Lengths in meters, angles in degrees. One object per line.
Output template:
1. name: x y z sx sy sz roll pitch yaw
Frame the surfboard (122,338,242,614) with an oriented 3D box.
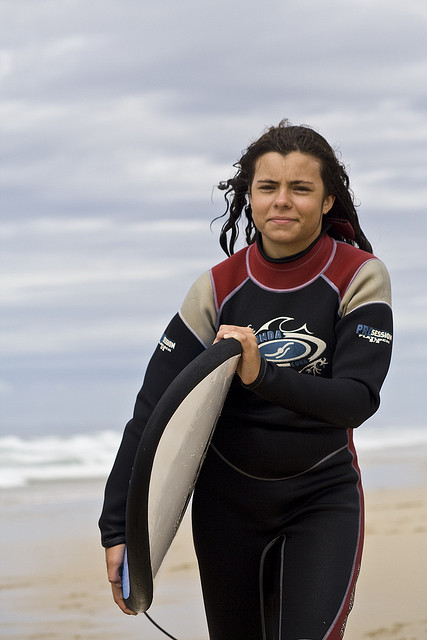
1. surfboard: -0.094 0.474 2.522 0.393 0.641 0.480 -4 -2 -9
